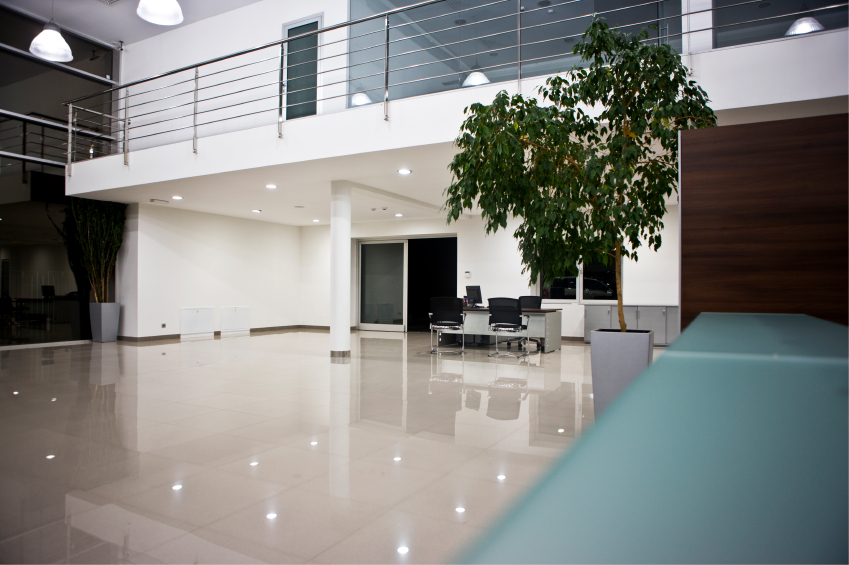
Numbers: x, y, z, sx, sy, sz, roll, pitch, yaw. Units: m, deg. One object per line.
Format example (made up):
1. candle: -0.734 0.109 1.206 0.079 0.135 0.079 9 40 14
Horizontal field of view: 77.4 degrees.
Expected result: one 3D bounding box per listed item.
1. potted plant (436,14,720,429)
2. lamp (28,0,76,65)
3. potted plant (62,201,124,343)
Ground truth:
1. potted plant: 1.170 -0.318 3.877 1.752 2.526 2.045 2 12 44
2. lamp: -4.851 -3.124 6.816 0.399 0.576 0.427 -4 3 -44
3. potted plant: -5.998 -0.210 9.720 0.741 2.582 0.688 -1 2 12
